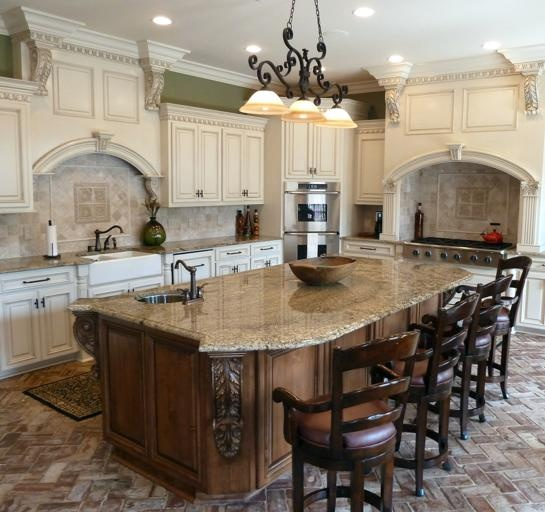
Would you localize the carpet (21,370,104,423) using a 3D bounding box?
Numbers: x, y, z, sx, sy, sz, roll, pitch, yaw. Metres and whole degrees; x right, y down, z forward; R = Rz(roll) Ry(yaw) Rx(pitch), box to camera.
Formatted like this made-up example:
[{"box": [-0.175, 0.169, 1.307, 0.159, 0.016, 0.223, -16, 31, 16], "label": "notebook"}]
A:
[{"box": [-1.599, 1.098, 3.819, 0.646, 0.024, 0.670, 6, 5, 28], "label": "carpet"}]

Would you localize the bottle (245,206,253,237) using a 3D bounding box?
[{"box": [-0.323, -0.492, 6.728, 0.121, 0.392, 0.272, 0, 11, -4], "label": "bottle"}]

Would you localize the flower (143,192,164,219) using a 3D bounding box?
[{"box": [-1.341, -0.573, 5.546, 0.219, 0.286, 0.224, -7, 13, -35], "label": "flower"}]

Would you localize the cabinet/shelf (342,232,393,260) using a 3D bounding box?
[{"box": [1.284, -0.117, 6.470, 0.648, 0.409, 0.335, 2, -1, 24], "label": "cabinet/shelf"}]

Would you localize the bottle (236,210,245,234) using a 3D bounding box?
[{"box": [-0.422, -0.471, 6.755, 0.119, 0.329, 0.161, 7, 13, 29], "label": "bottle"}]

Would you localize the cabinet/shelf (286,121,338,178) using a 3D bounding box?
[{"box": [0.516, -1.403, 6.475, 0.766, 0.731, 0.171, 0, 12, -2], "label": "cabinet/shelf"}]

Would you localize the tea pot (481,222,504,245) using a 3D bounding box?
[{"box": [2.650, -0.280, 5.901, 0.361, 0.260, 0.221, -2, 6, -30], "label": "tea pot"}]

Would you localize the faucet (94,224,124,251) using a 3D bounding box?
[{"box": [-1.744, -0.206, 5.172, 0.293, 0.254, 0.422, -2, 10, -13], "label": "faucet"}]

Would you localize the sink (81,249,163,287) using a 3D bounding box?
[{"box": [-1.585, 0.110, 4.816, 0.383, 0.145, 0.622, 8, 12, 39], "label": "sink"}]

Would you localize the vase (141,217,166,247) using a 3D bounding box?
[{"box": [-1.351, -0.280, 5.490, 0.256, 0.320, 0.285, -3, 11, -16], "label": "vase"}]

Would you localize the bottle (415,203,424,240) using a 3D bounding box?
[{"box": [1.979, -0.481, 6.500, 0.130, 0.470, 0.216, 4, 12, 15], "label": "bottle"}]

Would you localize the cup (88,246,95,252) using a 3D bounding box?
[{"box": [-1.873, -0.073, 5.039, 0.068, 0.051, 0.058, 3, -3, 17], "label": "cup"}]

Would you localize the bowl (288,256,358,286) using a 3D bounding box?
[{"box": [0.424, 0.110, 3.565, 0.292, 0.103, 0.389, 5, 8, 44], "label": "bowl"}]

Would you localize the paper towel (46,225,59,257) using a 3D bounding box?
[{"box": [-2.064, -0.146, 4.539, 0.096, 0.292, 0.210, -5, 12, -24], "label": "paper towel"}]

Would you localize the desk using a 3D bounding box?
[{"box": [0.342, 0.921, 3.550, 2.888, 0.804, 1.670, 5, -5, -37], "label": "desk"}]

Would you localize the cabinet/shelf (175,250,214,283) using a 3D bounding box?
[{"box": [-0.809, 0.103, 4.936, 0.393, 0.302, 0.266, -9, 13, -44], "label": "cabinet/shelf"}]
